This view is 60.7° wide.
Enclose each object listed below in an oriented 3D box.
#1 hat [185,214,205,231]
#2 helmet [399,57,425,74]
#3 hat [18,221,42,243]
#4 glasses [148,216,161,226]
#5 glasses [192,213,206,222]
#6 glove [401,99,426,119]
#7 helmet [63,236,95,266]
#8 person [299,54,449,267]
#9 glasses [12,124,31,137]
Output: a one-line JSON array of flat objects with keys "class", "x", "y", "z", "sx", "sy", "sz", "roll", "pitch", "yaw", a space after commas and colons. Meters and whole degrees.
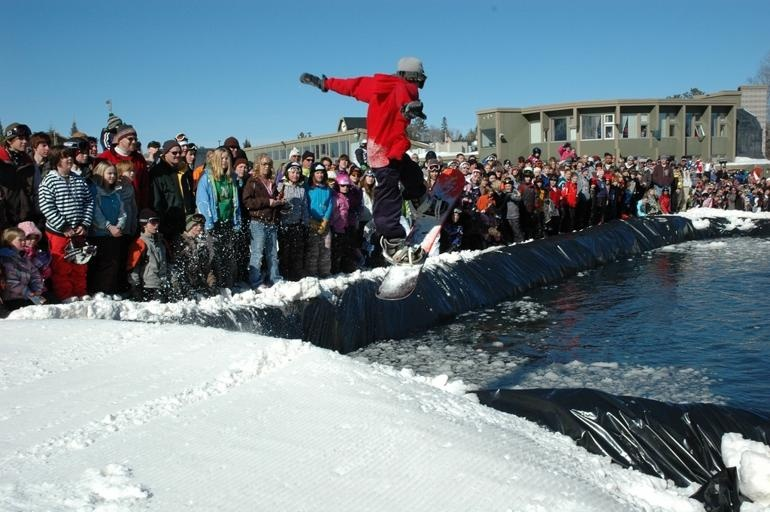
[{"class": "hat", "x": -2.498, "y": -0.430, "z": 8.741, "sx": 0.242, "sy": 0.178, "sz": 0.184, "roll": -14, "pitch": -10, "yaw": 42}, {"class": "helmet", "x": 0.304, "y": -2.050, "z": 7.125, "sx": 0.220, "sy": 0.154, "sz": 0.294, "roll": -5, "pitch": 9, "yaw": -16}, {"class": "hat", "x": -3.948, "y": -0.269, "z": 7.324, "sx": 0.180, "sy": 0.137, "sz": 0.238, "roll": 39, "pitch": -3, "yaw": -33}, {"class": "glasses", "x": -2.905, "y": -0.439, "z": 8.315, "sx": 0.052, "sy": 0.106, "sz": 0.156, "roll": 4, "pitch": 11, "yaw": 35}, {"class": "glasses", "x": -2.446, "y": -0.491, "z": 8.664, "sx": 0.109, "sy": 0.049, "sz": 0.118, "roll": 9, "pitch": -10, "yaw": -34}, {"class": "glove", "x": 0.289, "y": -1.498, "z": 6.802, "sx": 0.204, "sy": 0.217, "sz": 0.434, "roll": -3, "pitch": 9, "yaw": -3}, {"class": "helmet", "x": -3.562, "y": -0.044, "z": 7.763, "sx": 0.287, "sy": 0.243, "sz": 0.326, "roll": 5, "pitch": 35, "yaw": 18}, {"class": "person", "x": -0.063, "y": -0.983, "z": 7.323, "sx": 1.102, "sy": 2.297, "sz": 1.298, "roll": -2, "pitch": 9, "yaw": 3}, {"class": "glasses", "x": -4.262, "y": -1.449, "z": 7.715, "sx": 0.187, "sy": 0.125, "sz": 0.225, "roll": -8, "pitch": 10, "yaw": -30}]
